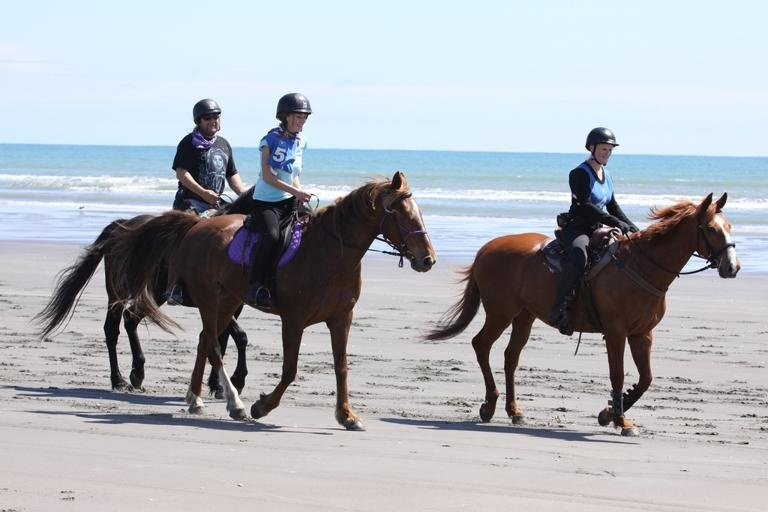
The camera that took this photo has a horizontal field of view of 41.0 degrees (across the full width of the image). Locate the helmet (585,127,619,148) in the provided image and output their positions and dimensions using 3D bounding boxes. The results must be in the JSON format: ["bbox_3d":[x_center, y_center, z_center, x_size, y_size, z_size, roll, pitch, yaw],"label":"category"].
[{"bbox_3d":[2.633,-1.429,12.492,0.339,0.229,0.266,6,8,20],"label":"helmet"}]

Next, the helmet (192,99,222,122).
[{"bbox_3d":[-2.308,-1.861,13.299,0.303,0.314,0.485,2,7,-9],"label":"helmet"}]

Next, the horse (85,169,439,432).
[{"bbox_3d":[-1.581,0.487,12.543,4.935,3.111,1.171,3,1,33],"label":"horse"}]

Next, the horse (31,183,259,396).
[{"bbox_3d":[-2.846,0.493,13.358,4.310,2.555,0.846,2,4,30],"label":"horse"}]

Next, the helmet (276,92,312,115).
[{"bbox_3d":[-1.043,-1.750,11.914,0.321,0.246,0.287,0,8,-24],"label":"helmet"}]

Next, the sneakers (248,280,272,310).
[{"bbox_3d":[-1.420,0.437,11.786,0.306,0.281,0.156,3,7,-5],"label":"sneakers"}]

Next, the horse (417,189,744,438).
[{"bbox_3d":[2.369,0.760,12.871,4.441,2.720,1.015,-1,-3,39],"label":"horse"}]

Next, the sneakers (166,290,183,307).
[{"bbox_3d":[-2.614,0.517,12.741,0.178,0.176,0.186,3,-7,-21],"label":"sneakers"}]
